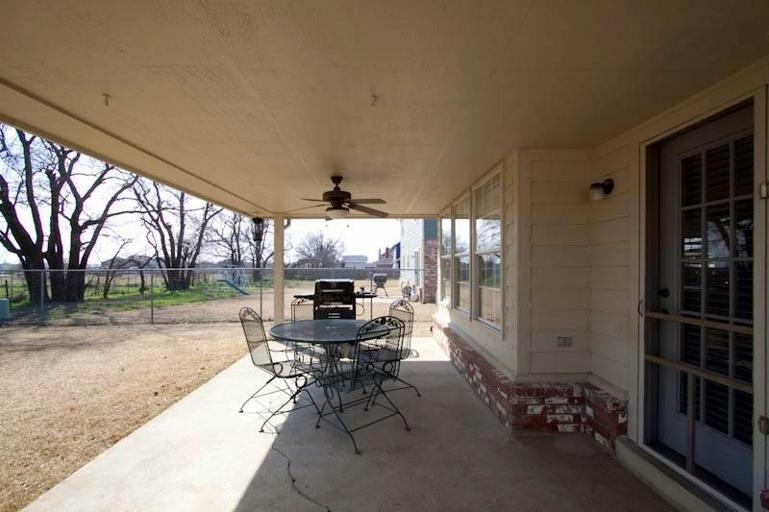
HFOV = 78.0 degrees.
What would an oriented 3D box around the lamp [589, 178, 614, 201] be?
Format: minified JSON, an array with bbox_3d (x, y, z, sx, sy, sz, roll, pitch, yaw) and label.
[{"bbox_3d":[2.258,-0.688,4.956,0.162,0.242,0.229,-4,12,-16],"label":"lamp"}]

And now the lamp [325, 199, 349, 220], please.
[{"bbox_3d":[-0.627,-0.597,6.278,0.267,0.262,0.376,-2,12,-8],"label":"lamp"}]
